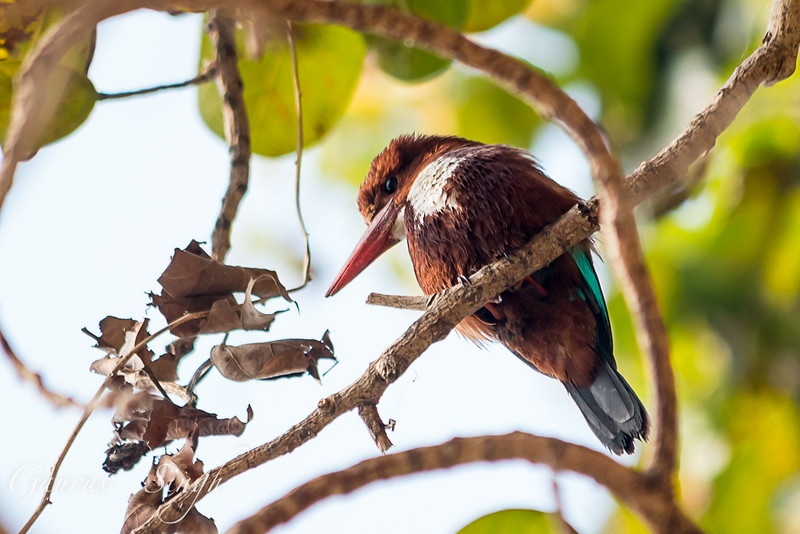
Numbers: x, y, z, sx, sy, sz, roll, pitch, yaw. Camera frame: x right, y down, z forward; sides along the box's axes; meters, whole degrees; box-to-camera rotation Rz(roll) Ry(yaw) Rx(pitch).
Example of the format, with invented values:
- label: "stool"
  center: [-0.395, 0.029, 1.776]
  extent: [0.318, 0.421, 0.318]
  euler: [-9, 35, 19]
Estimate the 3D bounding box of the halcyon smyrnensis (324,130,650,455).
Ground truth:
- label: "halcyon smyrnensis"
  center: [0.119, 0.035, 1.520]
  extent: [0.462, 0.303, 0.242]
  euler: [18, -28, 12]
